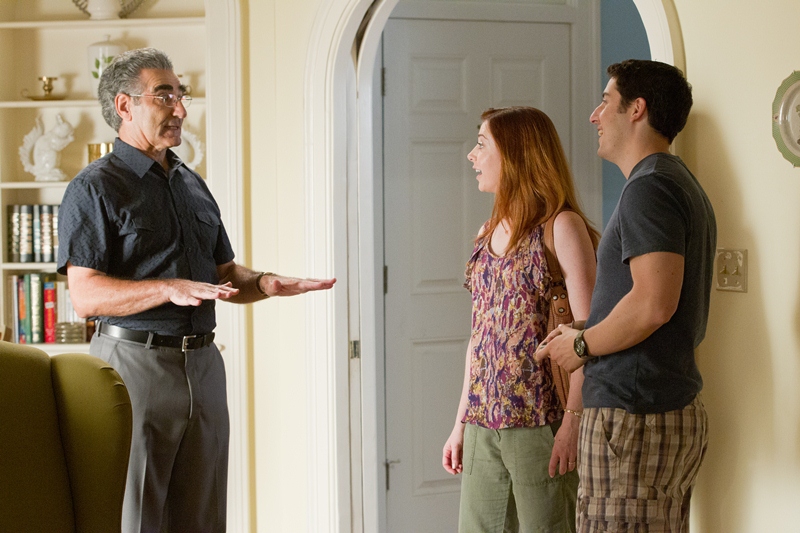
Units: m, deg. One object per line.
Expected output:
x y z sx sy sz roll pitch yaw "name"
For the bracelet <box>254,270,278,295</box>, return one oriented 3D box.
-0.569 0.072 3.541 0.078 0.090 0.087 13 12 18 "bracelet"
